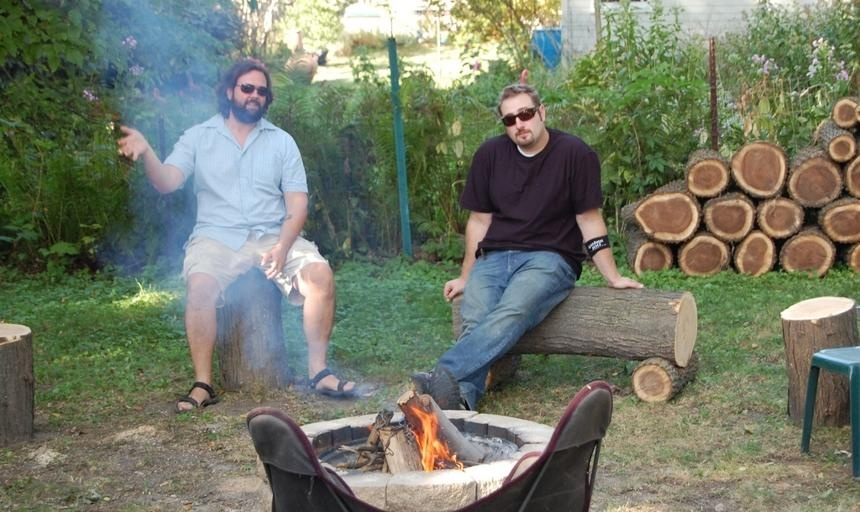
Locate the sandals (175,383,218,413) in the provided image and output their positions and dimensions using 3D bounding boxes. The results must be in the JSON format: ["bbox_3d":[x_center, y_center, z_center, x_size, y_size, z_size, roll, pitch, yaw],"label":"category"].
[{"bbox_3d":[-2.220,1.330,7.515,0.197,0.184,0.396,2,3,30],"label":"sandals"}]

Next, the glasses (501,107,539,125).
[{"bbox_3d":[0.863,-1.318,7.498,0.343,0.177,0.094,0,5,7],"label":"glasses"}]

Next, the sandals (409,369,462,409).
[{"bbox_3d":[0.074,1.171,7.057,0.233,0.535,0.242,-42,-12,-17],"label":"sandals"}]
